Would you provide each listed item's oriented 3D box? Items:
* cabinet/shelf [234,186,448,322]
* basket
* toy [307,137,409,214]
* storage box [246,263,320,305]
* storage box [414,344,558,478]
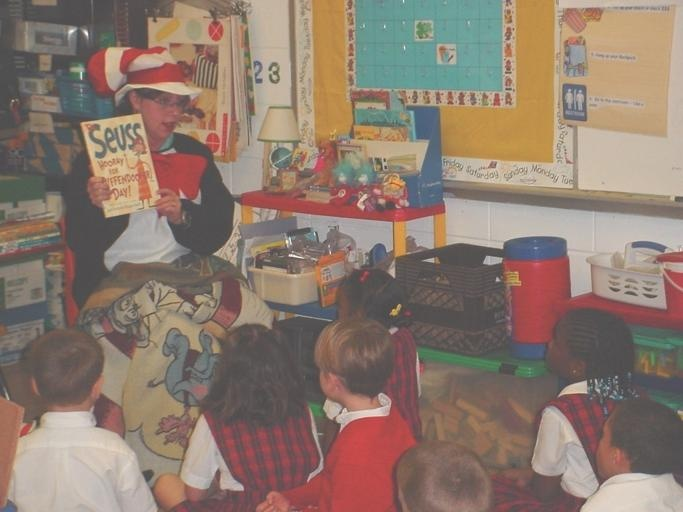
[{"bbox_3d":[-0.002,-0.287,3.449,1.077,0.973,0.393,9,12,39],"label":"cabinet/shelf"},{"bbox_3d":[1.151,0.074,2.572,0.311,0.169,0.221,9,9,36],"label":"basket"},{"bbox_3d":[0.063,-0.380,3.234,0.494,0.363,0.156,11,3,26],"label":"toy"},{"bbox_3d":[-0.319,0.133,3.408,0.279,0.123,0.202,8,12,37],"label":"storage box"},{"bbox_3d":[0.684,0.637,2.965,0.516,0.526,0.532,4,1,26],"label":"storage box"}]
